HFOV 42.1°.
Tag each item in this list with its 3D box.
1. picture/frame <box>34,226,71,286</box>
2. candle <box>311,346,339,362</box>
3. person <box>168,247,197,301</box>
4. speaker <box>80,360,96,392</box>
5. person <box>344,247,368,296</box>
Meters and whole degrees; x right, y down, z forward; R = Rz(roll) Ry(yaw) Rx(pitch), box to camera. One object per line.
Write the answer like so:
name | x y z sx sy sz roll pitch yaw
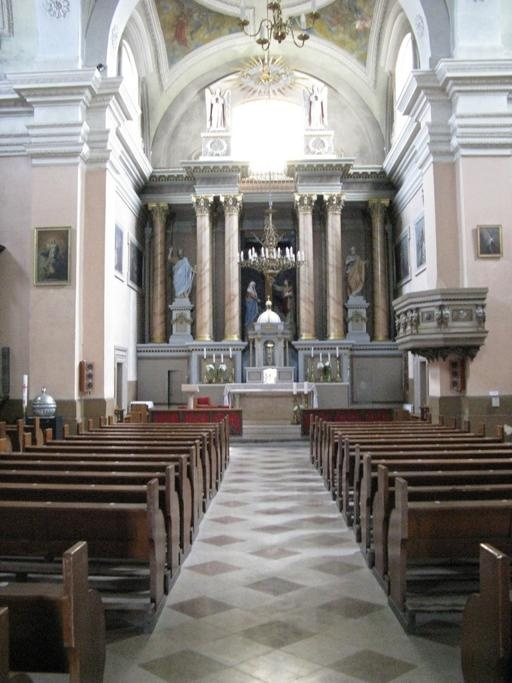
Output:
picture/frame | -3.753 -1.532 12.251 0.647 1.632 0.104 0 -6 -4
candle | 1.875 0.386 18.151 0.803 0.506 0.353 1 1 6
person | -2.195 -1.981 19.792 0.739 1.450 0.429 1 0 -9
speaker | -3.156 0.690 12.441 0.145 0.636 0.436 1 0 25
person | 2.945 -2.055 19.634 0.550 1.651 0.282 5 33 17
